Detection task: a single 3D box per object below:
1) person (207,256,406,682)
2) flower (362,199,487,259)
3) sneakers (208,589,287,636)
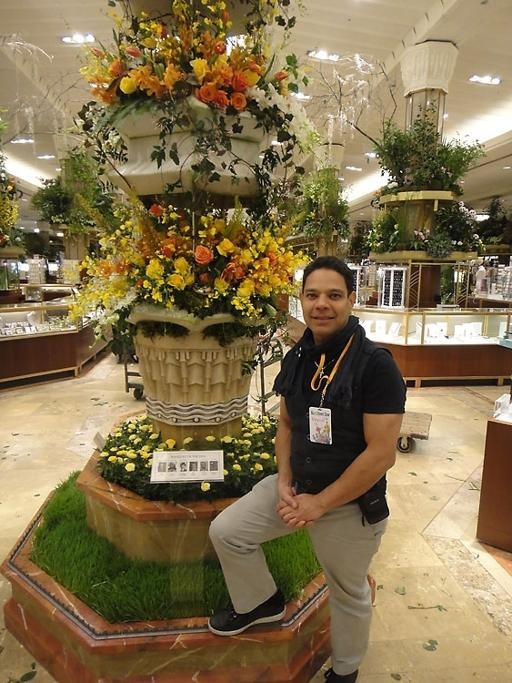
[{"bbox_3d":[0.146,0.452,1.293,0.548,1.405,0.358,3,8,17],"label":"person"},{"bbox_3d":[2.569,-1.738,6.504,1.653,0.934,1.129,3,7,18],"label":"flower"},{"bbox_3d":[-0.019,0.899,1.405,0.258,0.100,0.093,1,1,-24],"label":"sneakers"}]
